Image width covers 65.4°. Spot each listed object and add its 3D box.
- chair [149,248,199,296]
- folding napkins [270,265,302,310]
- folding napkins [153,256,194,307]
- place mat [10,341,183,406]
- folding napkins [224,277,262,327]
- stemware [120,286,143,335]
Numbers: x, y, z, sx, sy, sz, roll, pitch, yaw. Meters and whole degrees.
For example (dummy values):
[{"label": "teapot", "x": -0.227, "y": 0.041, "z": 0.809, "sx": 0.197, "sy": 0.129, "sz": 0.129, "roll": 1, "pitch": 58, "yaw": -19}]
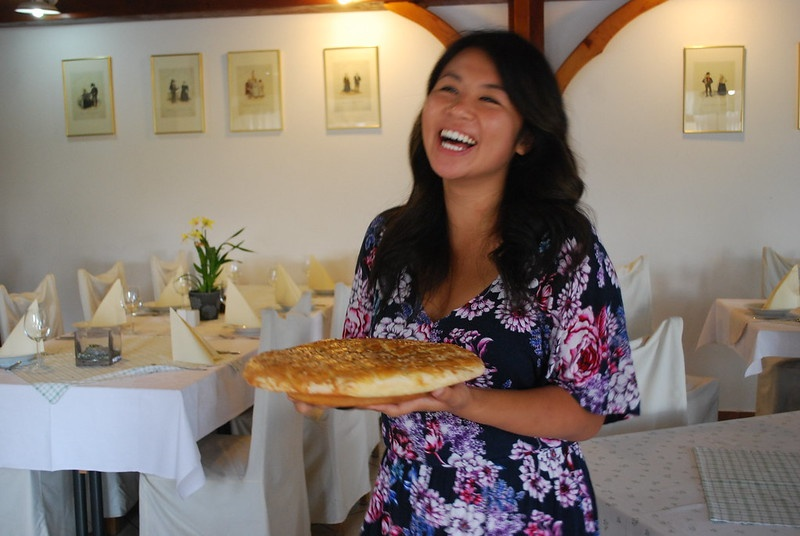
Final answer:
[{"label": "chair", "x": -1.849, "y": 0.020, "z": 5.091, "sx": 0.291, "sy": 0.555, "sz": 0.336, "roll": 3, "pitch": 11, "yaw": 27}, {"label": "folding napkins", "x": -0.831, "y": 0.145, "z": 4.488, "sx": 0.181, "sy": 0.343, "sz": 0.198, "roll": -6, "pitch": 18, "yaw": 7}, {"label": "folding napkins", "x": -1.742, "y": 0.100, "z": 4.732, "sx": 0.316, "sy": 0.481, "sz": 0.260, "roll": -6, "pitch": 12, "yaw": -30}, {"label": "place mat", "x": -1.251, "y": 0.498, "z": 2.967, "sx": 0.563, "sy": 0.053, "sz": 0.637, "roll": 18, "pitch": 8, "yaw": 37}, {"label": "folding napkins", "x": -1.045, "y": 0.226, "z": 4.099, "sx": 0.270, "sy": 0.317, "sz": 0.034, "roll": 1, "pitch": 0, "yaw": 11}, {"label": "stemware", "x": -1.591, "y": 0.228, "z": 3.692, "sx": 0.104, "sy": 0.252, "sz": 0.097, "roll": 1, "pitch": 11, "yaw": -38}]
